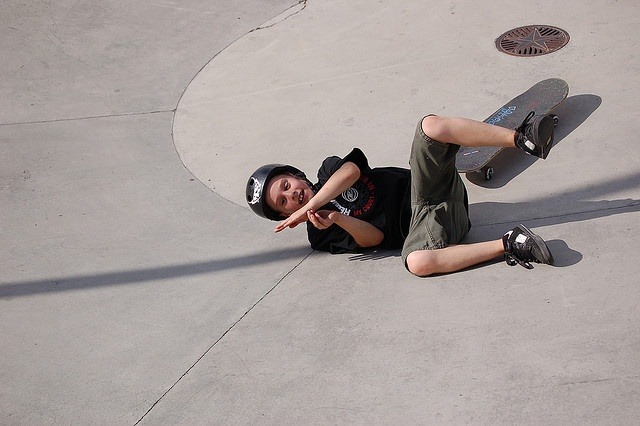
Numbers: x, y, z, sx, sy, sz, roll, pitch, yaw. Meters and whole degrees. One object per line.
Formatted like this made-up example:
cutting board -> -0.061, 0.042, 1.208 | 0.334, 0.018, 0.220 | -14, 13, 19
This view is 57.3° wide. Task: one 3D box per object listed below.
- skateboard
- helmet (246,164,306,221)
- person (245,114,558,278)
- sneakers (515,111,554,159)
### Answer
skateboard -> 1.652, -0.678, 4.966 | 1.311, 0.210, 0.316 | -38, 43, -9
helmet -> -0.397, -0.173, 4.676 | 0.530, 0.406, 0.343 | 4, 97, -19
person -> 0.581, -0.098, 4.440 | 2.233, 0.996, 1.030 | 1, 56, 5
sneakers -> 1.566, -0.575, 4.286 | 0.265, 0.298, 0.235 | 15, 59, 15
